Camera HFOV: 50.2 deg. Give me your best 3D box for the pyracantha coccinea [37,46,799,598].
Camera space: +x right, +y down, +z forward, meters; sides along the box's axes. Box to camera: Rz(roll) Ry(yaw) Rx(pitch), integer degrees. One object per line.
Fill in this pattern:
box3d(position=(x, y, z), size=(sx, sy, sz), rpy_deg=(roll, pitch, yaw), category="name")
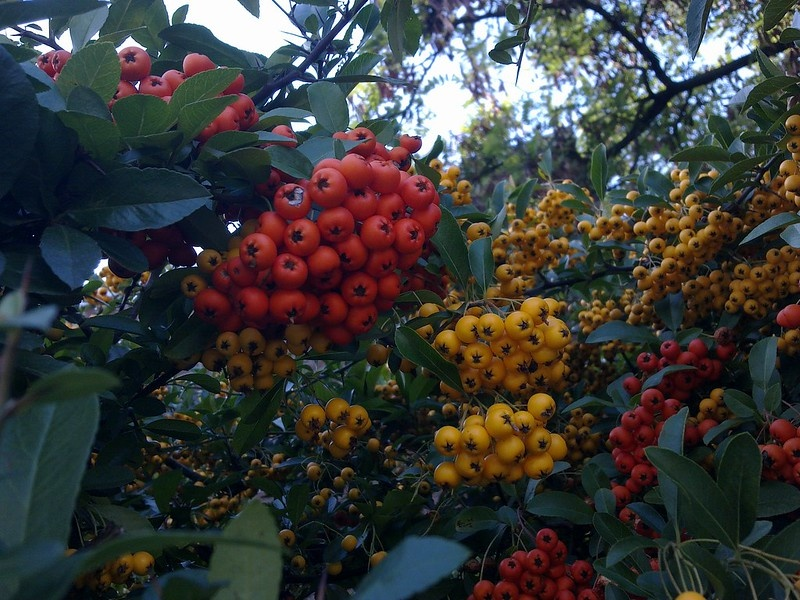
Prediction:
box3d(position=(0.112, 0.331, 3.898), size=(2.991, 1.092, 2.921), rpy_deg=(-4, -23, -12), category="pyracantha coccinea")
